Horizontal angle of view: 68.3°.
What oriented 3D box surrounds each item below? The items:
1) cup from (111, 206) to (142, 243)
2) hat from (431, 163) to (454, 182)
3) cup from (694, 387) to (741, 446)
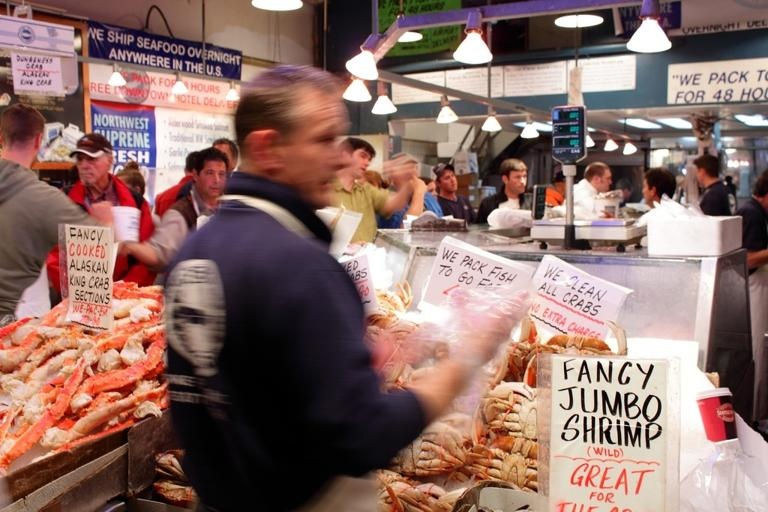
[{"bbox_3d":[-1.073,-0.136,2.396,0.130,0.142,0.133,-2,0,0],"label":"cup"},{"bbox_3d":[0.719,-1.041,6.815,0.304,0.193,0.400,-8,14,8],"label":"hat"},{"bbox_3d":[1.009,0.501,1.746,0.146,0.164,0.149,-3,-17,-1],"label":"cup"}]
